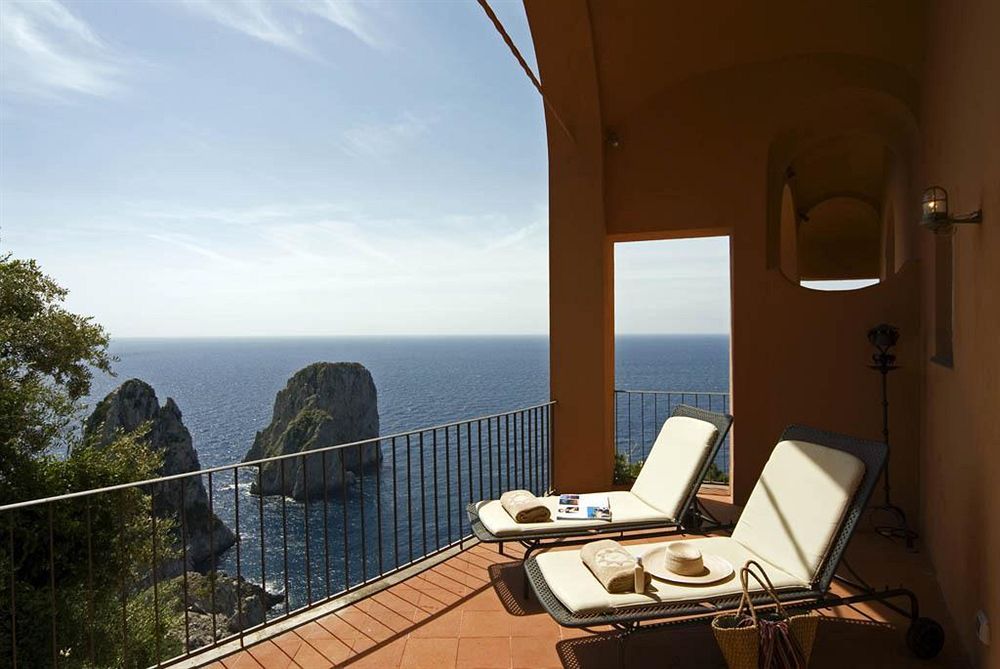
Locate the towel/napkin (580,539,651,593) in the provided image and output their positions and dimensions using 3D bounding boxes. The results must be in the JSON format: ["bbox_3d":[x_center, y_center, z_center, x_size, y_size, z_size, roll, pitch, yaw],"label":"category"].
[{"bbox_3d":[0.941,1.954,5.863,0.313,0.139,0.399,0,9,-15],"label":"towel/napkin"}]

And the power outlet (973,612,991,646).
[{"bbox_3d":[4.004,2.479,5.797,0.043,0.188,0.185,0,-18,21],"label":"power outlet"}]

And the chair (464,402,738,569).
[{"bbox_3d":[0.956,1.473,7.067,2.090,1.376,1.399,0,-2,-5],"label":"chair"}]

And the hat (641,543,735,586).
[{"bbox_3d":[1.553,1.998,5.886,0.424,0.124,0.443,2,7,41],"label":"hat"}]

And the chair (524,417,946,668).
[{"bbox_3d":[1.710,1.836,6.434,2.855,1.690,1.999,-1,0,-9],"label":"chair"}]

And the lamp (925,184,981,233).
[{"bbox_3d":[3.998,-1.117,6.177,0.445,0.419,0.265,2,0,15],"label":"lamp"}]
